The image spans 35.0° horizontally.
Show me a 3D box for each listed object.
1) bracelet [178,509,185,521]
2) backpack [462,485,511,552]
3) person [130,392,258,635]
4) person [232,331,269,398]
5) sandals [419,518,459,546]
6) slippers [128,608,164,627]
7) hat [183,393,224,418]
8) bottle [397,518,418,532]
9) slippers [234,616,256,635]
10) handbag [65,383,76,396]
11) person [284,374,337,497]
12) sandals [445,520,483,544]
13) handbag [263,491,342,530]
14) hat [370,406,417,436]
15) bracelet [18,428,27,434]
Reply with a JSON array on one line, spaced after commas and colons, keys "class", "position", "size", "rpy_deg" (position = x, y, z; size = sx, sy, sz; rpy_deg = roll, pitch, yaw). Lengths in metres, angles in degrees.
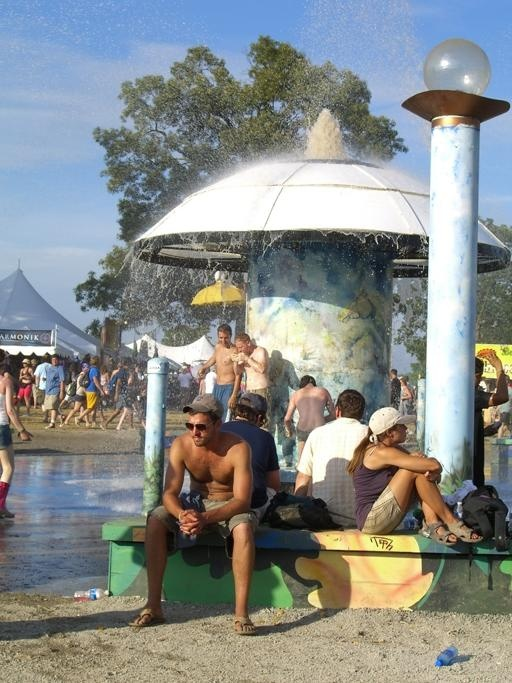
[{"class": "bracelet", "position": [-0.390, 0.913, 4.273], "size": [0.020, 0.048, 0.037], "rpy_deg": [10, 8, 1]}, {"class": "backpack", "position": [1.206, 0.907, 4.368], "size": [0.257, 0.333, 0.322], "rpy_deg": [-10, -2, -7]}, {"class": "person", "position": [-0.299, 0.878, 4.333], "size": [0.645, 1.181, 0.690], "rpy_deg": [0, -3, 3]}, {"class": "person", "position": [-0.093, 0.300, 9.634], "size": [0.344, 0.787, 0.720], "rpy_deg": [1, -3, -19]}, {"class": "sandals", "position": [0.975, 1.018, 4.402], "size": [0.215, 0.081, 0.079], "rpy_deg": [18, 29, 34]}, {"class": "slippers", "position": [-0.546, 1.408, 4.156], "size": [0.073, 0.061, 0.154], "rpy_deg": [-5, -14, 30]}, {"class": "hat", "position": [-0.276, 0.335, 4.327], "size": [0.120, 0.092, 0.184], "rpy_deg": [-2, -19, 39]}, {"class": "bottle", "position": [0.987, 1.172, 5.254], "size": [0.152, 0.065, 0.189], "rpy_deg": [0, -7, -1]}, {"class": "slippers", "position": [-0.054, 1.396, 4.000], "size": [0.105, 0.071, 0.133], "rpy_deg": [0, -2, -2]}, {"class": "handbag", "position": [-5.298, 1.386, 23.365], "size": [0.300, 0.366, 0.417], "rpy_deg": [1, -2, 21]}, {"class": "person", "position": [0.581, 0.939, 9.138], "size": [0.502, 1.235, 0.433], "rpy_deg": [2, 23, 6]}, {"class": "sandals", "position": [1.100, 1.010, 4.342], "size": [0.207, 0.078, 0.077], "rpy_deg": [10, 21, 44]}, {"class": "handbag", "position": [0.227, 0.956, 4.646], "size": [0.306, 0.114, 0.232], "rpy_deg": [-2, -8, 24]}, {"class": "hat", "position": [0.765, 0.455, 4.572], "size": [0.230, 0.112, 0.145], "rpy_deg": [-21, 12, 2]}, {"class": "bracelet", "position": [-2.323, 0.896, 8.104], "size": [0.074, 0.064, 0.069], "rpy_deg": [0, -11, -7]}]
